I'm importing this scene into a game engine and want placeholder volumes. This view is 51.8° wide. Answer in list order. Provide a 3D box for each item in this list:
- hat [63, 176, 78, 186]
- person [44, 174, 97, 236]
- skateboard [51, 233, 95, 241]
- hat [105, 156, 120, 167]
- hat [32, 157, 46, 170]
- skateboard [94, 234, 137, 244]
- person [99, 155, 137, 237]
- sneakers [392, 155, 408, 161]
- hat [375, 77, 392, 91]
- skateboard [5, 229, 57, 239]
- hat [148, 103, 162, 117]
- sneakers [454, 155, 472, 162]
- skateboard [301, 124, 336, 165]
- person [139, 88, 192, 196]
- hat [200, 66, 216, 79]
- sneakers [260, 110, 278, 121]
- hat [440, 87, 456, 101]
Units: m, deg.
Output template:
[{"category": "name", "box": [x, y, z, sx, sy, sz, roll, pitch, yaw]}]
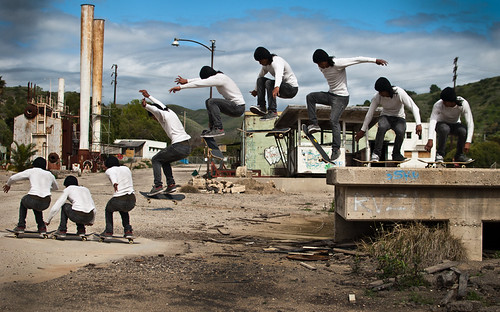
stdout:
[{"category": "hat", "box": [-5.375, 0.725, 15.394, 0.310, 0.341, 0.372, 0, 9, -10]}, {"category": "person", "box": [-5.274, 1.547, 15.225, 1.270, 1.822, 0.722, -2, 11, -20]}, {"category": "skateboard", "box": [-5.440, 2.425, 15.446, 1.017, 0.162, 0.375, 4, 1, -13]}, {"category": "hat", "box": [-4.129, 0.134, 15.373, 0.307, 0.347, 0.384, 1, 20, -10]}, {"category": "hat", "box": [-6.436, 0.207, 15.704, 0.327, 0.335, 0.419, 13, 9, -24]}, {"category": "skateboard", "box": [-4.060, 2.478, 15.407, 1.139, 0.158, 0.401, 2, -2, -5]}, {"category": "person", "box": [-3.983, 1.265, 15.504, 0.943, 2.570, 0.985, -1, 10, -15]}, {"category": "sneakers", "box": [4.570, 0.064, 15.801, 0.479, 0.190, 0.161, -1, 1, 29]}, {"category": "hat", "box": [3.932, -2.107, 15.183, 0.454, 0.393, 0.486, 6, 10, 25]}, {"category": "skateboard", "box": [-6.586, 2.330, 15.362, 0.850, 0.137, 0.197, 8, 17, -15]}, {"category": "hat", "box": [-3.036, -1.430, 16.116, 0.501, 0.120, 0.465, 12, 24, 4]}, {"category": "sneakers", "box": [6.523, 0.078, 15.755, 0.556, 0.204, 0.199, -2, -4, 25]}, {"category": "skateboard", "box": [2.260, -0.157, 16.200, 0.284, 1.925, 0.478, -32, 7, 33]}, {"category": "person", "box": [-2.628, -0.347, 16.115, 1.474, 3.376, 1.024, 0, 10, -11]}, {"category": "hat", "box": [-1.324, -2.657, 16.353, 0.500, 0.385, 0.329, 1, 10, -4]}, {"category": "sneakers", "box": [0.625, -1.274, 16.383, 0.692, 0.255, 0.226, -1, 7, 3]}, {"category": "hat", "box": [5.941, -1.857, 15.465, 0.587, 0.399, 0.358, -6, 12, -40]}]
